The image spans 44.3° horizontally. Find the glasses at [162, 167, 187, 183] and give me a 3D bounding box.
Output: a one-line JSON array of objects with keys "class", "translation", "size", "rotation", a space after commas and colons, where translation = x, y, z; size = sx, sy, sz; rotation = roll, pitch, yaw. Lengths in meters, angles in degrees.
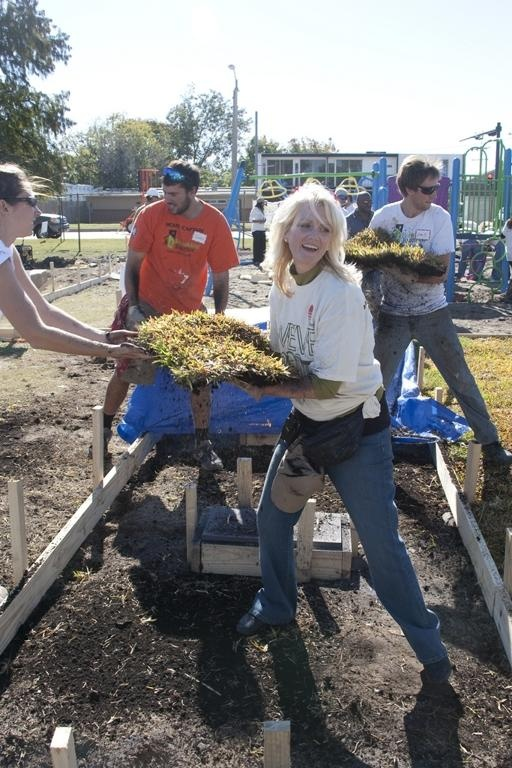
[{"class": "glasses", "translation": [-0.510, -1.294, 3.906], "size": [0.135, 0.096, 0.068], "rotation": [0, 15, -5]}]

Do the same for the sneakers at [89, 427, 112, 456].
[{"class": "sneakers", "translation": [-0.978, 0.367, 3.965], "size": [0.101, 0.253, 0.120], "rotation": [7, -28, -8]}]

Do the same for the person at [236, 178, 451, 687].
[{"class": "person", "translation": [0.339, 0.204, 2.300], "size": [0.866, 1.791, 0.399], "rotation": [8, 17, 24]}]

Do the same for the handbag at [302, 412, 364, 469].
[{"class": "handbag", "translation": [0.256, 0.195, 2.210], "size": [0.162, 0.215, 0.087], "rotation": [17, 42, -25]}]
